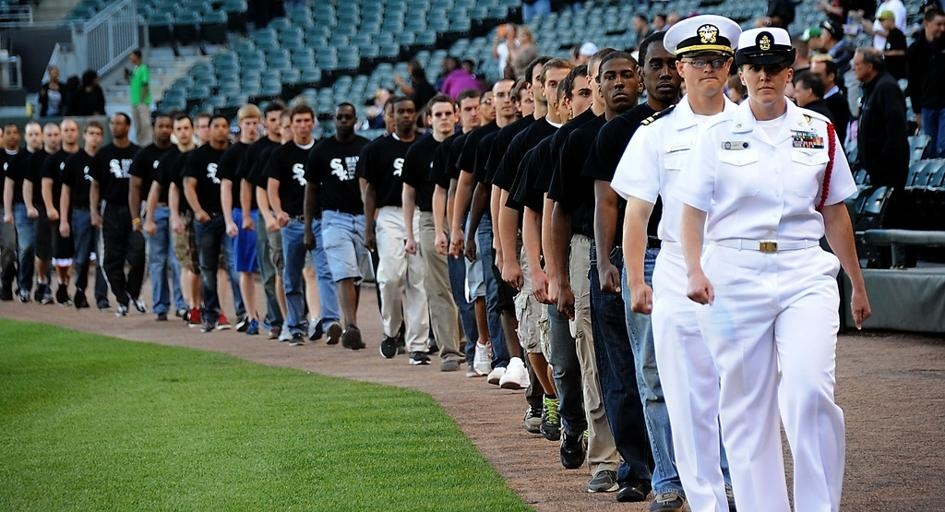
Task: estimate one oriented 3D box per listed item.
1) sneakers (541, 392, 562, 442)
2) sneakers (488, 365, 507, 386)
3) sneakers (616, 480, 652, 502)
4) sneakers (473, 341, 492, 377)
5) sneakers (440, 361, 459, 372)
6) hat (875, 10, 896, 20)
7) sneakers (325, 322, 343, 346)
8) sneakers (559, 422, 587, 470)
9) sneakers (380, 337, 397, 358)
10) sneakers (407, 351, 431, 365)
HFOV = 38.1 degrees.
[{"bbox_3d":[0.944,1.932,16.367,0.199,0.555,0.251,-2,-25,-5],"label":"sneakers"},{"bbox_3d":[0.341,1.591,18.059,0.209,0.227,0.547,1,-8,3],"label":"sneakers"},{"bbox_3d":[1.781,2.606,15.113,0.428,0.145,0.174,-2,18,-4],"label":"sneakers"},{"bbox_3d":[0.134,1.414,18.628,0.177,0.484,0.228,0,-11,1],"label":"sneakers"},{"bbox_3d":[-0.315,1.542,18.944,0.243,0.119,0.104,-1,1,-2],"label":"sneakers"},{"bbox_3d":[6.858,-4.016,22.808,0.329,0.170,0.238,10,15,35],"label":"hat"},{"bbox_3d":[-2.102,1.198,20.735,0.172,0.208,0.478,2,-43,-12],"label":"sneakers"},{"bbox_3d":[1.174,2.180,15.838,0.212,0.555,0.249,0,4,7],"label":"sneakers"},{"bbox_3d":[-1.197,1.336,19.761,0.166,0.362,0.152,1,-36,-12],"label":"sneakers"},{"bbox_3d":[-0.741,1.466,19.364,0.151,0.135,0.323,2,-5,-25],"label":"sneakers"}]
